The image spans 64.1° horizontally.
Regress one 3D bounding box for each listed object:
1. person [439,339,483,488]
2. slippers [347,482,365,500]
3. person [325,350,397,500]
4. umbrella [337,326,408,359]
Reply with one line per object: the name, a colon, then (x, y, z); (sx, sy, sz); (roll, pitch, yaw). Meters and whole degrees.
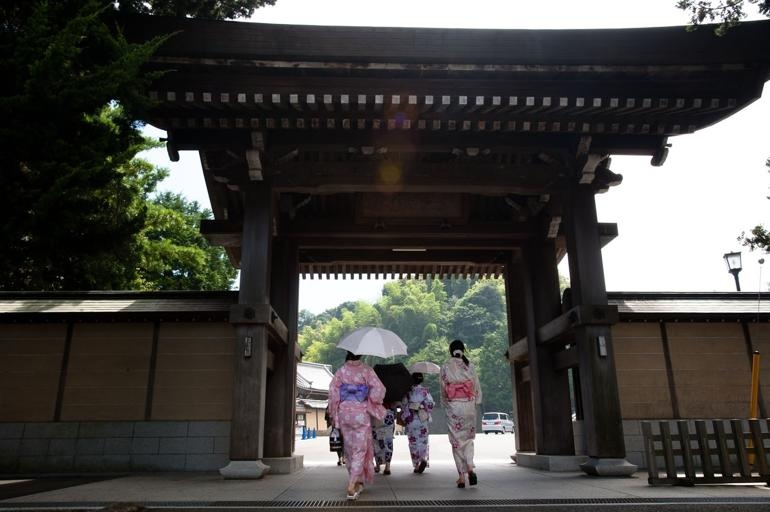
person: (1.292, 2.629, 10.360); (0.655, 2.392, 0.404); (-1, -18, 1)
slippers: (-0.450, 3.580, 9.328); (0.134, 0.177, 0.448); (1, -17, 6)
person: (-0.449, 2.630, 9.781); (0.887, 2.255, 0.811); (1, -18, -5)
umbrella: (-0.213, 1.608, 11.597); (1.404, 0.518, 1.478); (2, 5, 1)
